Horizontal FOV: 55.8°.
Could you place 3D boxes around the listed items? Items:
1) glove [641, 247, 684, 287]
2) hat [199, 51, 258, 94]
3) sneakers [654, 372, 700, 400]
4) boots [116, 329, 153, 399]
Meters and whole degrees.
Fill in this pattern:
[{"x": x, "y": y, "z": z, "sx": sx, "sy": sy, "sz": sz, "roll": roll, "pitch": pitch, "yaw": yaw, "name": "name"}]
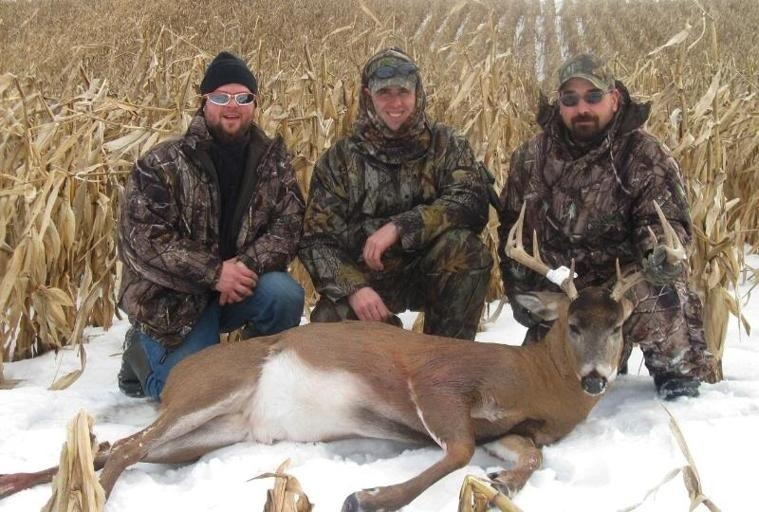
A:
[{"x": 2.026, "y": 0.052, "z": 5.065, "sx": 0.281, "sy": 0.249, "sz": 0.142, "roll": -40, "pitch": 9, "yaw": 4, "name": "glove"}, {"x": -1.232, "y": -1.475, "z": 5.903, "sx": 0.350, "sy": 0.285, "sz": 0.369, "roll": 4, "pitch": -9, "yaw": -5, "name": "hat"}, {"x": 2.239, "y": 0.976, "z": 5.333, "sx": 0.204, "sy": 0.109, "sz": 0.246, "roll": 3, "pitch": -25, "yaw": -1, "name": "sneakers"}, {"x": -1.985, "y": 0.853, "z": 5.765, "sx": 0.260, "sy": 0.517, "sz": 0.378, "roll": -5, "pitch": -8, "yaw": 21, "name": "boots"}]
